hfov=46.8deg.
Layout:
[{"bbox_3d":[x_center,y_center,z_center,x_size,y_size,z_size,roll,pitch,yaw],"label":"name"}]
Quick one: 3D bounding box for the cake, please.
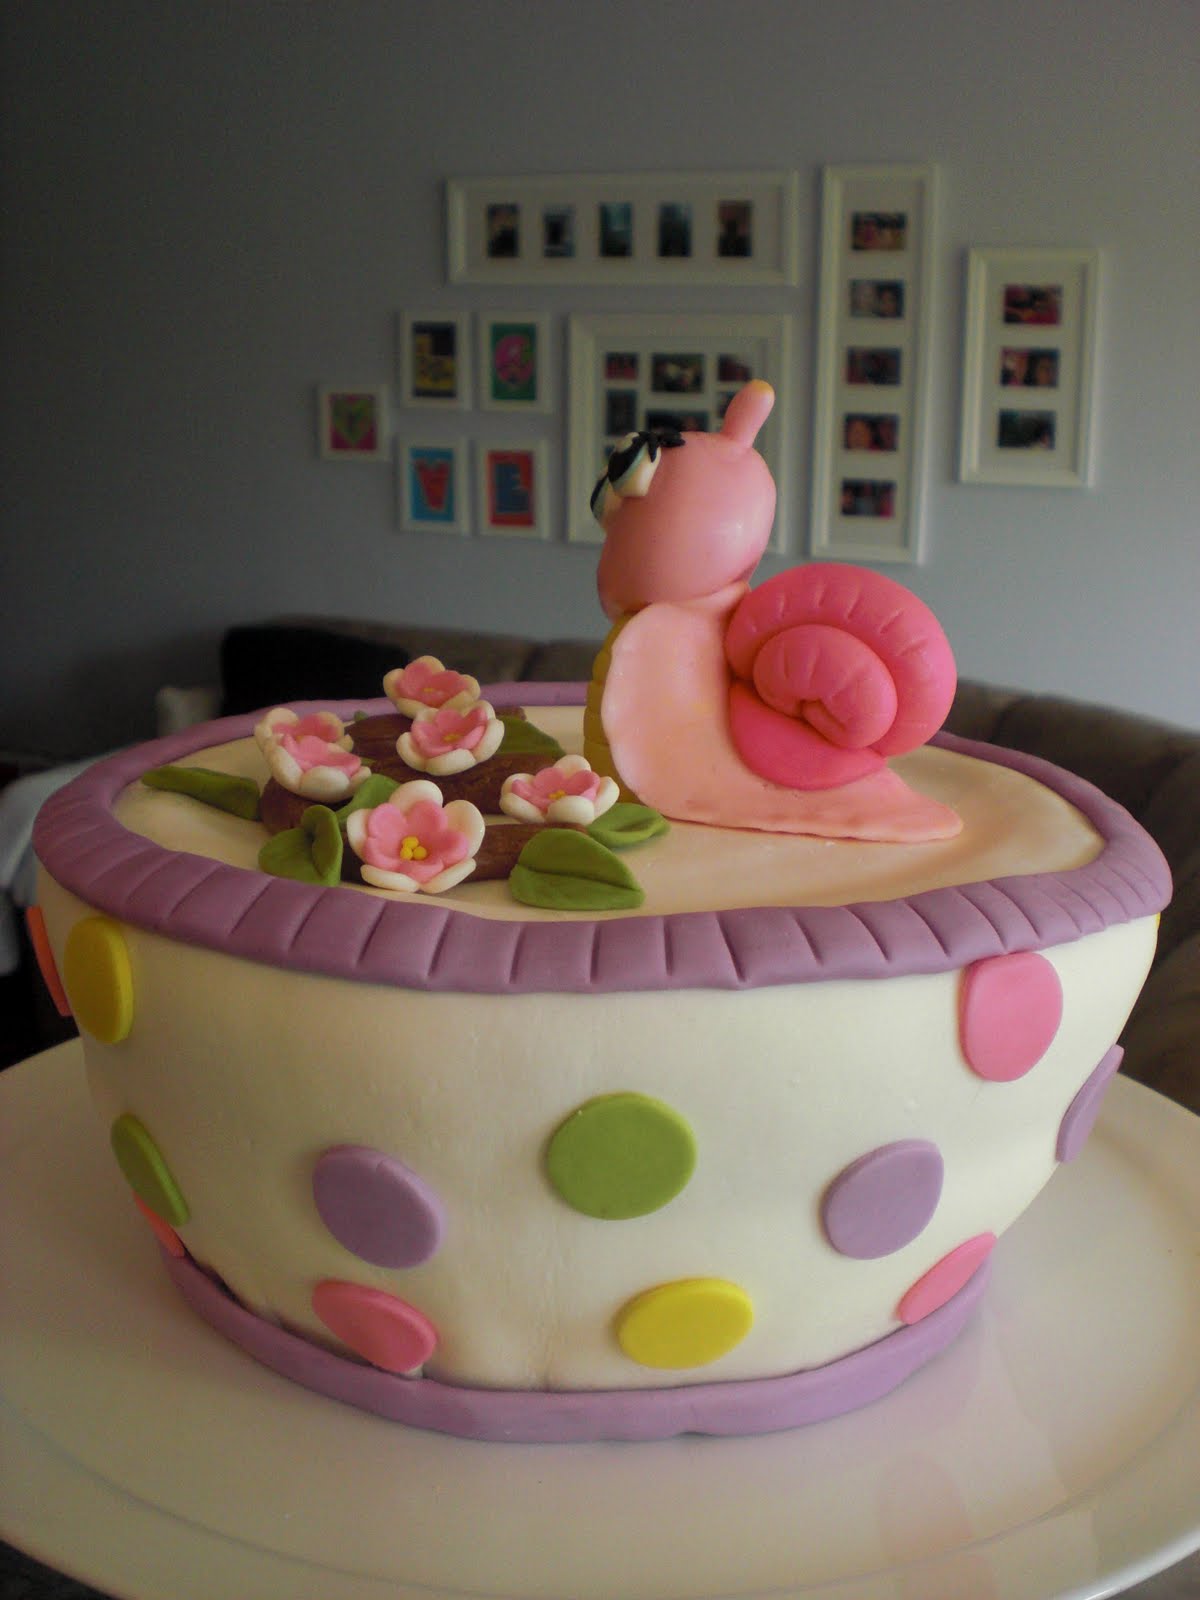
[{"bbox_3d":[0.001,0.023,0.917,0.694,0.469,0.602,-4,18,-14],"label":"cake"}]
